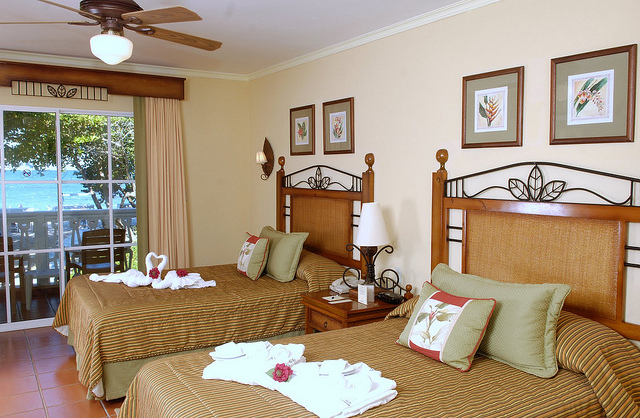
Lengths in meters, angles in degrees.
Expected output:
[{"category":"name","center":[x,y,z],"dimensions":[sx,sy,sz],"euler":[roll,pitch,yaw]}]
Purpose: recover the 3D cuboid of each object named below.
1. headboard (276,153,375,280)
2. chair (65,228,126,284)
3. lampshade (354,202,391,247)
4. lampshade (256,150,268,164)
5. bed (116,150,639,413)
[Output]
[{"category":"headboard","center":[-0.027,0.096,5.104],"dimensions":[0.087,1.511,1.639],"euler":[-5,8,-42]},{"category":"chair","center":[-3.073,0.560,5.794],"dimensions":[0.723,0.948,0.667],"euler":[-3,6,-40]},{"category":"lampshade","center":[0.480,0.129,4.135],"dimensions":[0.388,0.408,0.391],"euler":[-5,8,-20]},{"category":"lampshade","center":[-0.834,-0.737,5.894],"dimensions":[0.163,0.151,0.159],"euler":[-2,0,-19]},{"category":"bed","center":[0.385,0.525,3.167],"dimensions":[3.666,1.839,1.700],"euler":[0,10,-1]}]
